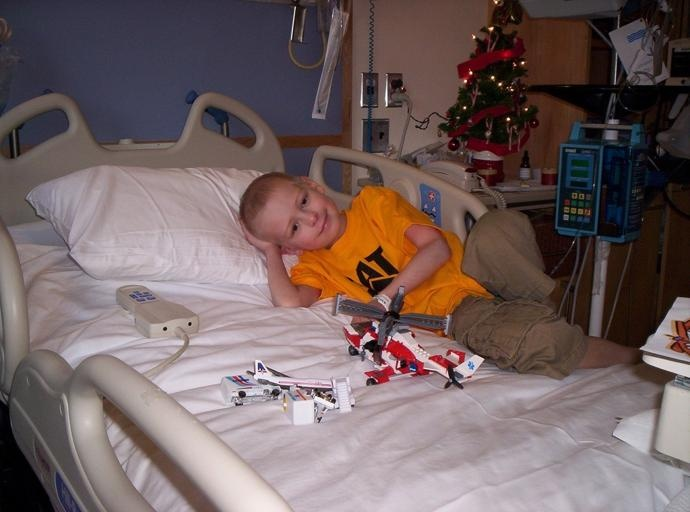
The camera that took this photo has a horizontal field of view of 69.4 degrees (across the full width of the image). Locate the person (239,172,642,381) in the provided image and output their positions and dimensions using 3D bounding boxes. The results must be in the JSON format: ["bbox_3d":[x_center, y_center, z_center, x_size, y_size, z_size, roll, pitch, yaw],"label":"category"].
[{"bbox_3d":[0.243,0.042,1.497,0.976,0.331,0.590,38,-40,-29],"label":"person"}]

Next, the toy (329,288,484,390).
[{"bbox_3d":[0.128,0.203,1.205,0.190,0.155,0.349,-15,41,-37],"label":"toy"}]

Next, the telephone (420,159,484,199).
[{"bbox_3d":[0.428,-0.350,2.098,0.079,0.132,0.272,-23,24,-28],"label":"telephone"}]

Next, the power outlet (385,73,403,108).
[{"bbox_3d":[0.281,-0.934,2.847,0.097,0.185,0.020,0,1,1],"label":"power outlet"}]
